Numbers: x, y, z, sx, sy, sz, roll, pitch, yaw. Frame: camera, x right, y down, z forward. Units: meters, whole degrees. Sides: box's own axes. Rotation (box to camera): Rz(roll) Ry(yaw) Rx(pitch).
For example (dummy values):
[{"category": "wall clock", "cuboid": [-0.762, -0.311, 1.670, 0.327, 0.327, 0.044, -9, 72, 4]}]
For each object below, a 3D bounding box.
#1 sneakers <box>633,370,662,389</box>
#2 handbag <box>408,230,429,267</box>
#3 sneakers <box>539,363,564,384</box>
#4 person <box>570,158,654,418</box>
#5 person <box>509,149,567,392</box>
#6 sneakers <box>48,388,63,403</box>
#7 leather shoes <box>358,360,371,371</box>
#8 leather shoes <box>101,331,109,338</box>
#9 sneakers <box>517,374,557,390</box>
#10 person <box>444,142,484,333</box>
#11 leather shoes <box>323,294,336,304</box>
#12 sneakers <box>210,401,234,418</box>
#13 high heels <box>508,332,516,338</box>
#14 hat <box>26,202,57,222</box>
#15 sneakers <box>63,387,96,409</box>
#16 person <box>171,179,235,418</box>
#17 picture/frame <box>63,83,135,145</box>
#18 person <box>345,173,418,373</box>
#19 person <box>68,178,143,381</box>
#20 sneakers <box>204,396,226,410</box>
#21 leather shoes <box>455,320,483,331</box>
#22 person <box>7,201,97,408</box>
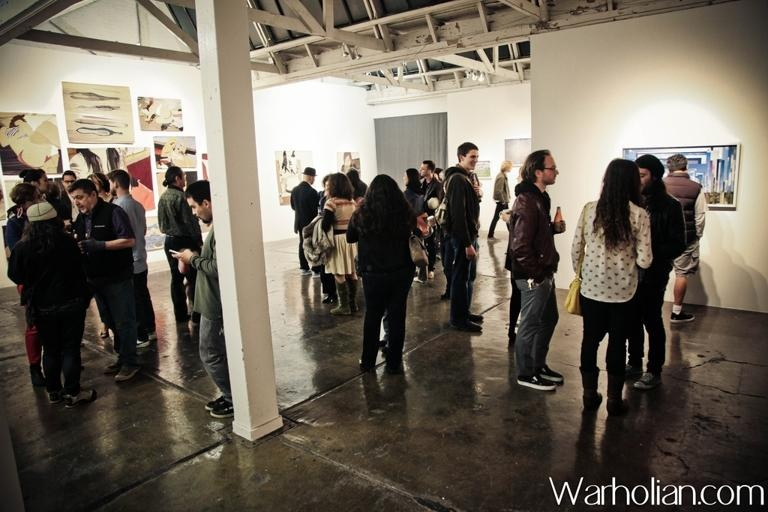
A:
[{"category": "sneakers", "cuboid": [2.753, 1.277, 5.184, 0.355, 0.140, 0.132, -2, -6, -24]}, {"category": "handbag", "cuboid": [0.377, -0.068, 5.453, 0.190, 0.338, 0.122, -17, 4, 1]}, {"category": "sneakers", "cuboid": [1.741, 1.254, 5.289, 0.337, 0.137, 0.124, 7, 13, 43]}, {"category": "person", "cuboid": [2.131, 0.303, 4.733, 0.678, 2.373, 0.363, 4, 12, 26]}, {"category": "person", "cuboid": [1.578, 0.161, 5.121, 0.590, 2.413, 0.569, 1, 11, 14]}, {"category": "sneakers", "cuboid": [-3.527, 1.497, 5.363, 0.084, 0.092, 0.214, -1, 5, -21]}, {"category": "leather shoes", "cuboid": [-0.212, 1.235, 5.700, 0.106, 0.189, 0.106, -6, -4, 39]}, {"category": "leather shoes", "cuboid": [-3.882, 1.086, 6.937, 0.115, 0.072, 0.068, -10, -6, 41]}, {"category": "sneakers", "cuboid": [1.583, 1.320, 5.199, 0.325, 0.121, 0.164, 0, 5, 28]}, {"category": "person", "cuboid": [1.008, -0.210, 6.370, 0.502, 2.387, 0.658, 0, 11, 11]}, {"category": "leather shoes", "cuboid": [-0.862, 0.687, 7.941, 0.262, 0.114, 0.094, 11, -16, -40]}, {"category": "sneakers", "cuboid": [-1.611, 1.530, 5.040, 0.307, 0.134, 0.134, 4, 0, 0]}, {"category": "high heels", "cuboid": [1.582, 0.969, 6.165, 0.077, 0.077, 0.043, 5, 15, 12]}, {"category": "hat", "cuboid": [-3.454, -0.437, 5.037, 0.174, 0.126, 0.248, -16, 23, -4]}, {"category": "sneakers", "cuboid": [-3.237, 1.505, 5.387, 0.147, 0.163, 0.346, 13, 17, 41]}, {"category": "person", "cuboid": [-1.691, 0.453, 4.867, 0.626, 2.330, 0.343, 8, 15, 42]}, {"category": "picture/frame", "cuboid": [-6.008, -2.967, 10.410, 0.139, 1.284, 1.322, 8, 14, 44]}, {"category": "person", "cuboid": [-0.018, 0.176, 5.640, 0.782, 2.208, 0.777, -1, 11, -2]}, {"category": "person", "cuboid": [-3.305, 0.273, 5.787, 0.780, 2.326, 0.733, -8, 12, -36]}, {"category": "sneakers", "cuboid": [-1.721, 1.494, 5.172, 0.108, 0.114, 0.302, 3, 4, 12]}, {"category": "leather shoes", "cuboid": [1.107, 0.923, 6.585, 0.391, 0.166, 0.136, 0, 6, 20]}, {"category": "person", "cuboid": [-3.415, 0.519, 5.177, 0.652, 2.107, 0.305, -8, 12, -30]}]
